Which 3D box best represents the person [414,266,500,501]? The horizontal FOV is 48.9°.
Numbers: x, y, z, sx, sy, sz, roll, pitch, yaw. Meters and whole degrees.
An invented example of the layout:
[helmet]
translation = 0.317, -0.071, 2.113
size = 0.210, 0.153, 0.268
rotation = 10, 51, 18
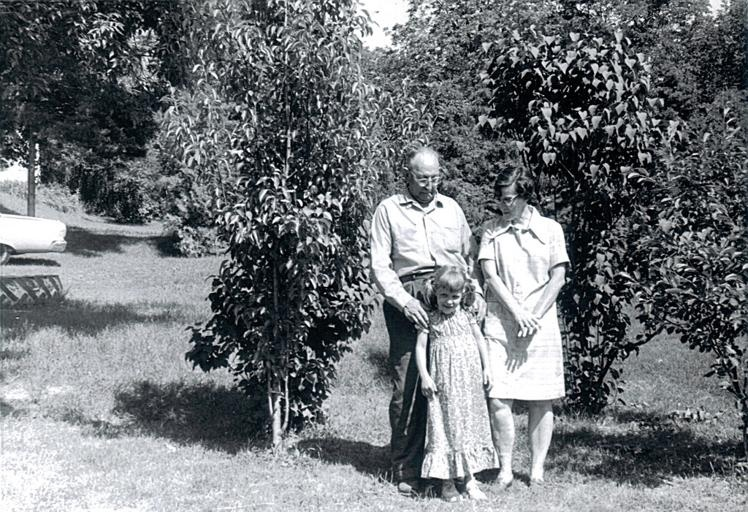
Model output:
[person]
translation = 0.743, 1.150, 7.553
size = 0.745, 2.121, 0.565
rotation = 1, 14, 3
